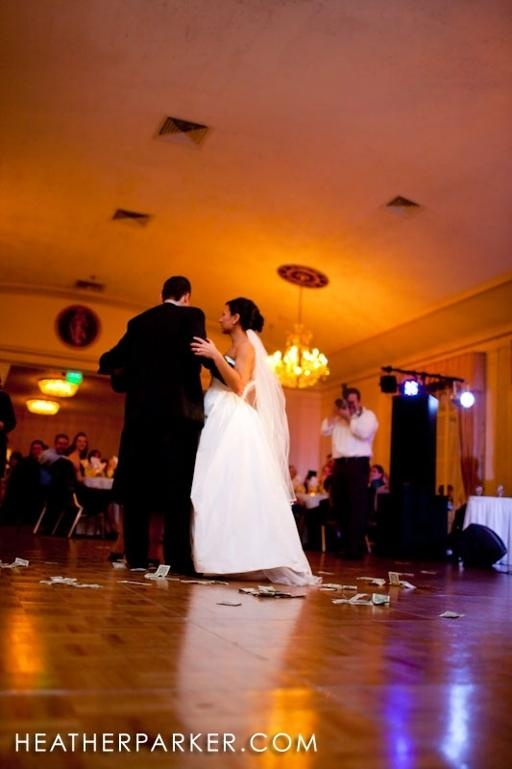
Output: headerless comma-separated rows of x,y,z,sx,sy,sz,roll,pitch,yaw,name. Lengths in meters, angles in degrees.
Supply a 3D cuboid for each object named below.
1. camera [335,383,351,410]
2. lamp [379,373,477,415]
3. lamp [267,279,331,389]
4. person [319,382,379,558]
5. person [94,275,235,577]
1.206,0.154,8.460,0.280,0.234,0.666,0,-11,7,camera
3.129,0.165,10.918,1.663,0.534,0.325,12,-35,-27,lamp
0.763,-0.959,10.941,0.962,2.040,0.956,0,-10,18,lamp
0.942,0.893,6.274,0.526,1.774,0.552,1,-7,6,person
-0.488,0.253,3.032,0.492,1.308,0.213,2,-7,-1,person
